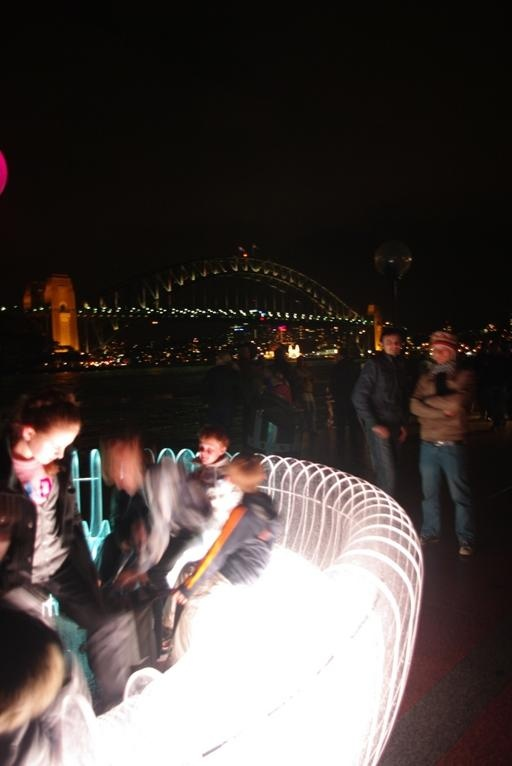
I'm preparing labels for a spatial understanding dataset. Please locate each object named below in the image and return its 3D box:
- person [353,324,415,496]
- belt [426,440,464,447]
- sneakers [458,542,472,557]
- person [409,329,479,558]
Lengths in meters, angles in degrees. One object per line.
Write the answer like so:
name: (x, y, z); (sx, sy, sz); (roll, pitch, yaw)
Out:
person: (0.965, 0.303, 4.507); (0.365, 0.924, 0.667); (-7, 5, 31)
belt: (1.366, 0.435, 4.202); (0.210, 0.046, 0.028); (-9, 3, 26)
sneakers: (1.430, 1.148, 3.988); (0.074, 0.052, 0.136); (-8, 5, 28)
person: (1.349, 0.408, 4.232); (0.455, 1.029, 0.562); (-6, 5, 34)
